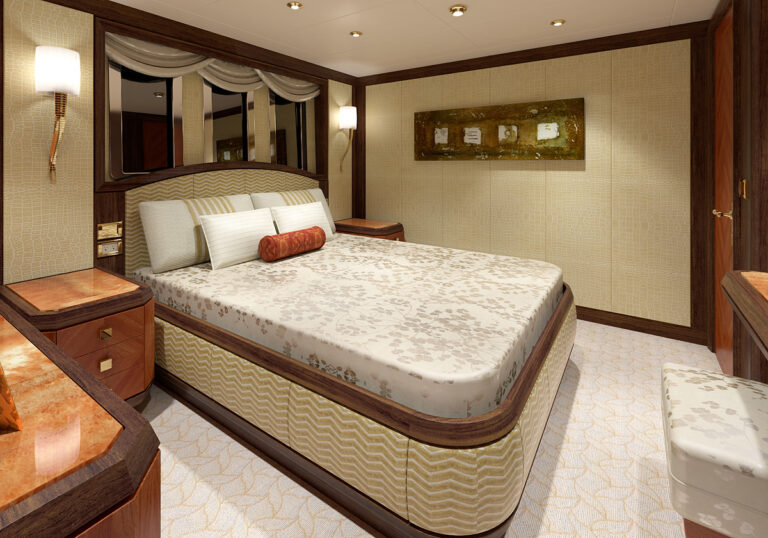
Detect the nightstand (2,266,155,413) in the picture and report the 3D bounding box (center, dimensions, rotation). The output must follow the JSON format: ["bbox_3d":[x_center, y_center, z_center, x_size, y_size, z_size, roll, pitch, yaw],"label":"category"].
[{"bbox_3d":[-2.016,0.324,3.301,1.005,0.976,0.753,8,12,32],"label":"nightstand"}]

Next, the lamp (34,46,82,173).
[{"bbox_3d":[-2.206,-1.079,3.237,0.295,0.841,0.294,-13,18,-35],"label":"lamp"}]
